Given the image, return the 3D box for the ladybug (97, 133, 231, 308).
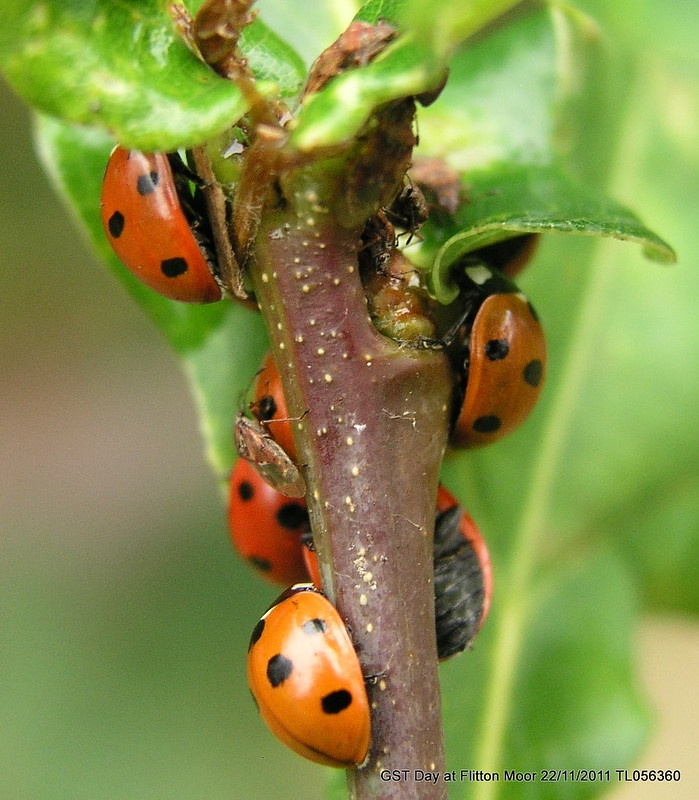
[{"bbox_3d":[-0.117,-0.104,0.597,0.031,0.078,0.084,-24,88,-42],"label":"ladybug"}]
